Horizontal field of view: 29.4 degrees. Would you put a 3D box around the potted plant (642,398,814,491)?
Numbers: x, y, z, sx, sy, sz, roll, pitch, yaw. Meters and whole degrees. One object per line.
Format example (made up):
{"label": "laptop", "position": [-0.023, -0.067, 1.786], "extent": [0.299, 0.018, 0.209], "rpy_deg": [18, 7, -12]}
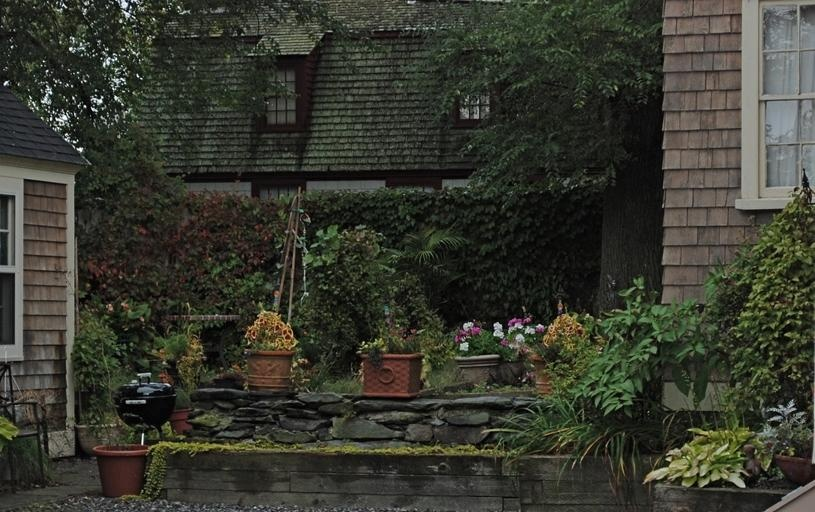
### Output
{"label": "potted plant", "position": [3.853, 2.373, 18.460], "extent": [1.231, 0.561, 1.353], "rpy_deg": [-6, 1, -8]}
